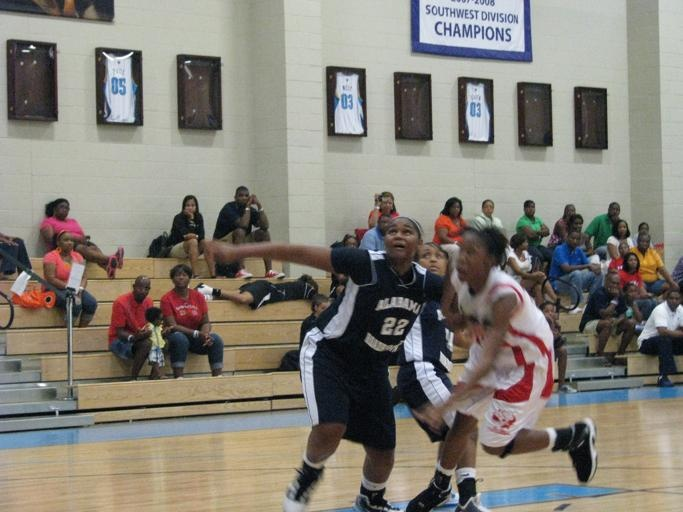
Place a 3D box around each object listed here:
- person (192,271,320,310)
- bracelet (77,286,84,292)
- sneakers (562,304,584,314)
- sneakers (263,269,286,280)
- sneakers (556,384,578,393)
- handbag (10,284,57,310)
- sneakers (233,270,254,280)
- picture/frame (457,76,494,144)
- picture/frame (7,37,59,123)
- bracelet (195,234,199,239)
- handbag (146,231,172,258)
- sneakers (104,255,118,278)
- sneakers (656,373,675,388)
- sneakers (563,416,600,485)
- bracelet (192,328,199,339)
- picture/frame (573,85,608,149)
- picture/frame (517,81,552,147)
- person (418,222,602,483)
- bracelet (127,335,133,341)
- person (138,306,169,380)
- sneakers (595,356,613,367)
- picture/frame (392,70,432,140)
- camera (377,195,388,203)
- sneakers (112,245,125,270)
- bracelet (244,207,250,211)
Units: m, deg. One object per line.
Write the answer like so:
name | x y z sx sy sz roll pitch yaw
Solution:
person | -1.107 0.512 12.868 1.283 0.450 0.660 -2 4 -21
bracelet | -3.367 0.412 11.682 0.071 0.032 0.103 2 12 1
sneakers | 3.727 0.850 14.665 0.331 0.150 0.146 -1 1 1
sneakers | -1.012 0.283 13.688 0.120 0.139 0.332 5 -9 -38
sneakers | 3.130 1.847 12.714 0.198 0.084 0.123 0 1 23
handbag | -3.985 0.553 11.833 0.419 0.179 0.315 11 8 -3
sneakers | -1.439 0.272 13.438 0.104 0.107 0.257 6 -7 -34
picture/frame | 2.485 -2.694 16.834 0.745 1.198 0.187 -2 5 -23
picture/frame | -4.746 -2.677 13.889 0.731 1.209 0.159 -2 5 -24
bracelet | -2.172 -0.285 13.561 0.044 0.042 0.042 26 33 -2
handbag | -2.850 -0.152 14.048 0.219 0.315 0.726 2 -13 -12
sneakers | -3.268 0.147 12.879 0.150 0.357 0.126 2 -3 27
sneakers | 4.703 1.805 13.230 0.116 0.135 0.336 -3 -13 -1
sneakers | 2.011 1.605 7.634 0.230 0.570 0.200 -7 0 -8
bracelet | -1.845 0.988 11.535 0.087 0.088 0.033 15 11 32
picture/frame | 4.870 -2.687 17.799 0.753 1.211 0.244 -2 5 -25
picture/frame | 3.665 -2.683 17.303 0.741 1.217 0.182 -2 4 -20
person | 1.324 0.749 7.158 1.253 1.953 0.560 -1 4 -6
bracelet | -2.609 1.004 11.188 0.057 0.056 0.059 3 -4 -5
person | -2.326 1.075 11.341 0.237 0.869 0.262 -1 4 -15
sneakers | 3.868 1.552 13.448 0.104 0.121 0.291 -1 -6 -16
picture/frame | 1.276 -2.676 16.353 0.742 1.211 0.190 -2 5 -24
camera | 0.652 -0.933 14.526 0.118 0.135 0.099 25 -17 -35
sneakers | -3.220 0.021 13.061 0.165 0.409 0.136 6 3 20
bracelet | -1.480 -0.736 14.272 0.048 0.049 0.050 -2 -5 26
